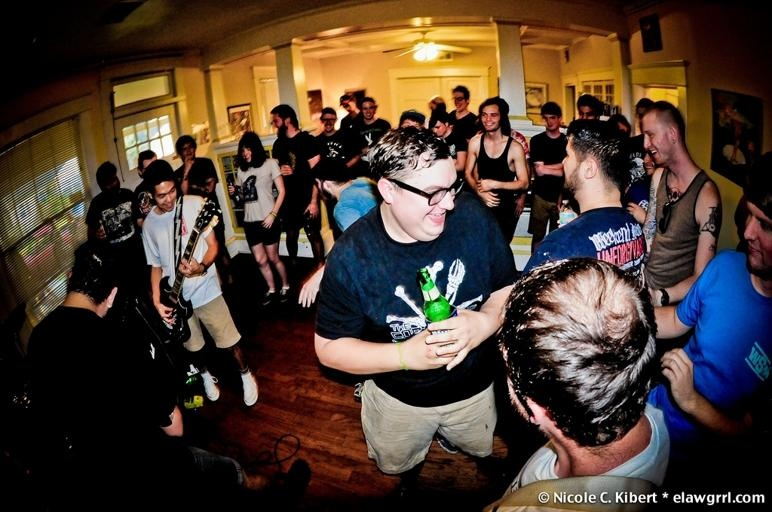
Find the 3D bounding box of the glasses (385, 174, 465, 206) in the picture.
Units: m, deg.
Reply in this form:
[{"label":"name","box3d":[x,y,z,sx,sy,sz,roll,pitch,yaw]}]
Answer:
[{"label":"glasses","box3d":[0.193,-0.326,2.311,0.214,0.061,0.209,25,32,28]}]

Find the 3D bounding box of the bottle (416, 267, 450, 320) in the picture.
[{"label":"bottle","box3d":[0.239,0.171,2.221,0.138,0.289,0.212,-3,14,9]}]

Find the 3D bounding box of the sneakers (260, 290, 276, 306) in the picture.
[{"label":"sneakers","box3d":[-1.335,0.478,5.390,0.125,0.193,0.080,3,-23,30]}]

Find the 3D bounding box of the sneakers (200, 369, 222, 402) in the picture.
[{"label":"sneakers","box3d":[-1.514,1.076,4.051,0.124,0.144,0.355,-28,35,-21]}]

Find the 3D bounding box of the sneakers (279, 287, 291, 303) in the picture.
[{"label":"sneakers","box3d":[-1.174,0.448,5.410,0.113,0.164,0.051,1,-15,14]}]
